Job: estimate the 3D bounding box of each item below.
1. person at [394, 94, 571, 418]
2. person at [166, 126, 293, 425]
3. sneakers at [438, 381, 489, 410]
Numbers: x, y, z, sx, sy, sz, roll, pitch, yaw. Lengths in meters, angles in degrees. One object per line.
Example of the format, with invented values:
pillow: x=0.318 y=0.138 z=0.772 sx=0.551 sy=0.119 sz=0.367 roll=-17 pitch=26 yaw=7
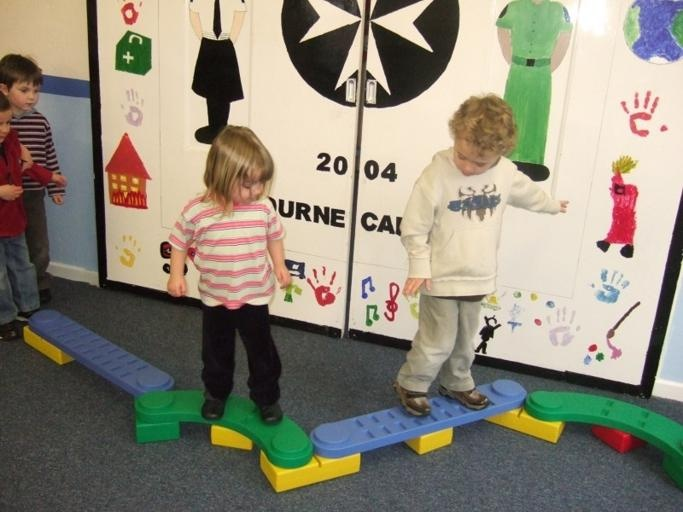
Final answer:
person: x=0.498 y=0.005 z=2.200 sx=0.560 sy=1.189 sz=0.229 roll=-1 pitch=17 yaw=-15
person: x=-0.406 y=0.108 z=2.121 sx=0.425 sy=1.115 sz=0.295 roll=2 pitch=16 yaw=-5
sneakers: x=0.502 y=0.558 z=2.354 sx=0.170 sy=0.080 sz=0.071 roll=20 pitch=35 yaw=32
